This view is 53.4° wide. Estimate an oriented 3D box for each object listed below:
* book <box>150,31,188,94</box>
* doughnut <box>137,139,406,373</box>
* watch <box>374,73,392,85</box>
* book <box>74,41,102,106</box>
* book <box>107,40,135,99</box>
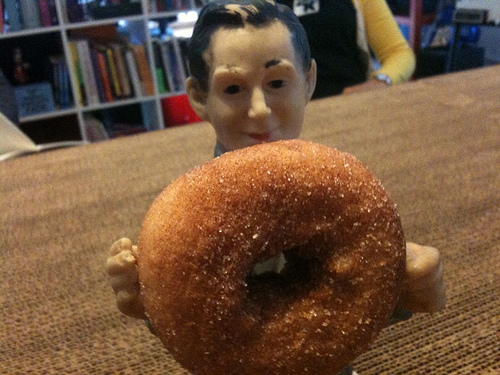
[{"bbox_3d":[-0.372,-0.571,2.270,0.144,0.276,0.097,-6,19,-12],"label":"book"},{"bbox_3d":[0.028,0.046,0.411,0.224,0.233,0.082,-7,16,-15],"label":"doughnut"},{"bbox_3d":[0.289,-0.234,1.069,0.041,0.023,0.027,0,19,5],"label":"watch"},{"bbox_3d":[-0.706,-0.491,2.142,0.062,0.268,0.037,-8,20,-17],"label":"book"},{"bbox_3d":[-0.624,-0.533,2.279,0.040,0.212,0.202,-24,11,-21],"label":"book"}]
